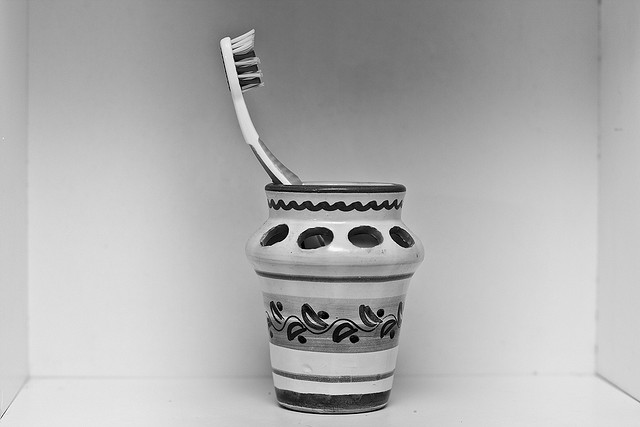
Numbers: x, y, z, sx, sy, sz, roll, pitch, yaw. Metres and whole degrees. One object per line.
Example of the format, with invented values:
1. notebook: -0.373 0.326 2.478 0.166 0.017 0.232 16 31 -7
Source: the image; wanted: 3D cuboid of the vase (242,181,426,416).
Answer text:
1. vase: 0.021 0.130 1.215 0.342 0.436 0.336 0 2 6
